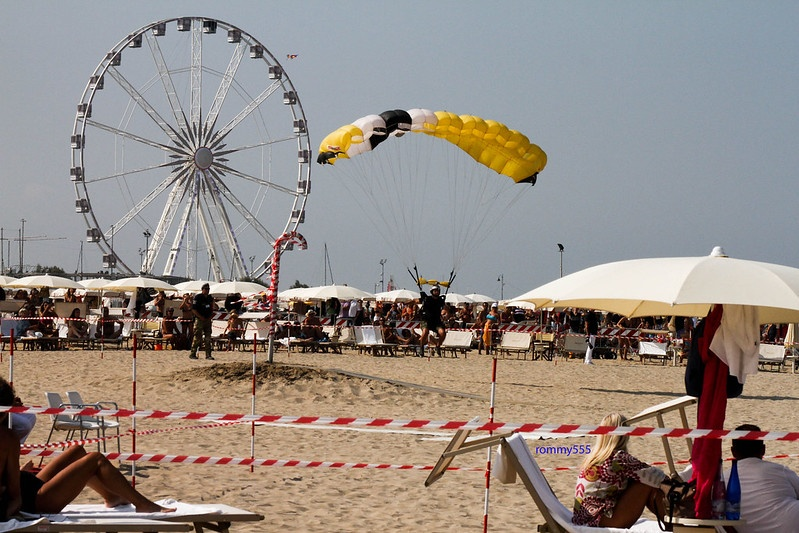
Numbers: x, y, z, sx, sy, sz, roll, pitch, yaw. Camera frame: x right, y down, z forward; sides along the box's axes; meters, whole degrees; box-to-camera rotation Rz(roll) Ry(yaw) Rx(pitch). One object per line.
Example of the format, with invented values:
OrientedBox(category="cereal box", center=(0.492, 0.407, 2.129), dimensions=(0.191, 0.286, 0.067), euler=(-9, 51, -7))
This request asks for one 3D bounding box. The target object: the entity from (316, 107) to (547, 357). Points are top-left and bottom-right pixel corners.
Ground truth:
OrientedBox(category="entity", center=(0.997, -1.316, 27.554), dimensions=(4.879, 5.051, 4.885), euler=(0, -6, 27))

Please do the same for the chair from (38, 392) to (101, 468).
OrientedBox(category="chair", center=(-4.178, 2.043, 15.267), dimensions=(0.812, 0.831, 0.728), euler=(2, -3, -18))

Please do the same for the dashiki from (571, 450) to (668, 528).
OrientedBox(category="dashiki", center=(2.285, 2.351, 12.883), dimensions=(0.968, 0.748, 0.705), euler=(-5, 1, -18))

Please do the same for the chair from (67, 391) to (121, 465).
OrientedBox(category="chair", center=(-4.049, 2.054, 15.442), dimensions=(0.544, 0.792, 0.466), euler=(7, -3, -9))

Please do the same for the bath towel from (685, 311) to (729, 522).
OrientedBox(category="bath towel", center=(3.439, 1.554, 13.149), dimensions=(0.371, 2.276, 1.031), euler=(2, -3, 15))
